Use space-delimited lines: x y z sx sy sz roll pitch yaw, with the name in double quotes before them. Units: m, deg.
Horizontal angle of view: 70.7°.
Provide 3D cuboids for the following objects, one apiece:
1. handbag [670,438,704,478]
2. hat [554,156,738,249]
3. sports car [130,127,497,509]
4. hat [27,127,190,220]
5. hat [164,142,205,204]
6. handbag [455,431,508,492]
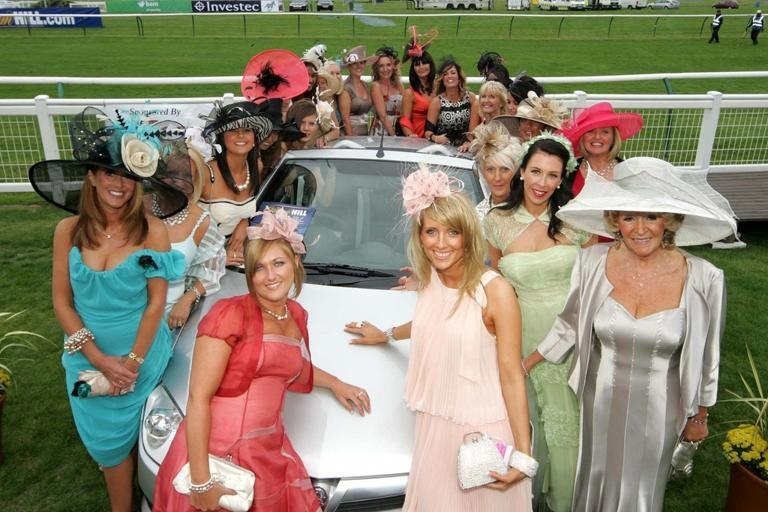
"handbag" 2.463 1.668 4.397 0.244 0.331 0.190 17 -9 -24
"hat" 1.707 -0.410 3.528 0.880 0.350 0.688 2 -24 13
"sports car" -0.533 0.449 4.254 1.712 1.369 2.882 4 33 1
"hat" -1.835 -0.709 3.621 0.714 0.374 0.684 13 11 -2
"hat" -1.473 -0.624 4.030 0.239 0.342 0.331 -18 62 -14
"handbag" 0.484 1.112 2.898 0.297 0.258 0.117 7 -2 1
